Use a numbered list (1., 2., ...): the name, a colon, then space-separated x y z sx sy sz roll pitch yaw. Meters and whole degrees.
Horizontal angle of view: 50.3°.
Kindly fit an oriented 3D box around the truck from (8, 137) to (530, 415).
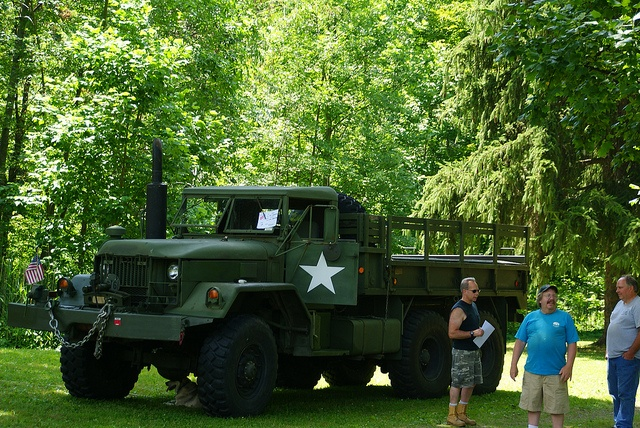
1. truck: -0.069 1.779 13.808 9.037 4.441 4.556 11 -14 -43

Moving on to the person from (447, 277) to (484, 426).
1. person: 2.531 2.513 11.844 0.588 2.259 0.407 3 -4 11

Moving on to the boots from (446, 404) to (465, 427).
1. boots: 2.400 3.485 11.677 0.405 0.344 0.203 -1 -4 26
